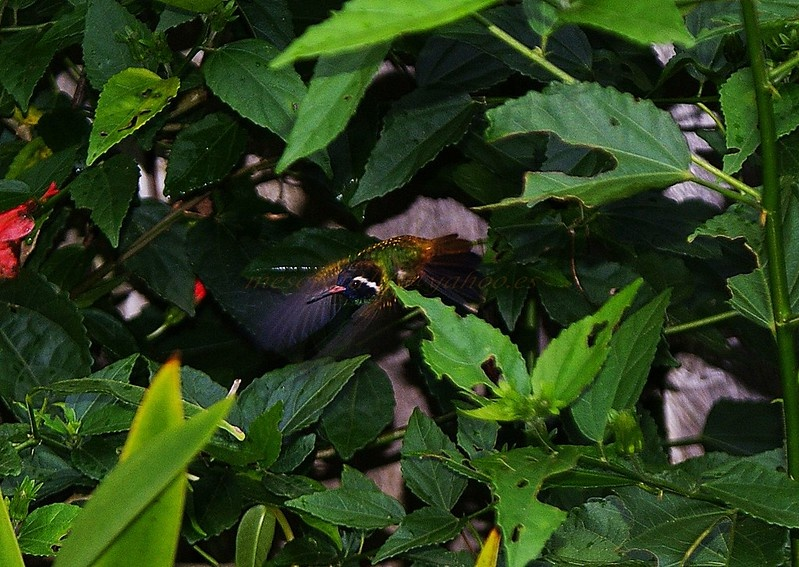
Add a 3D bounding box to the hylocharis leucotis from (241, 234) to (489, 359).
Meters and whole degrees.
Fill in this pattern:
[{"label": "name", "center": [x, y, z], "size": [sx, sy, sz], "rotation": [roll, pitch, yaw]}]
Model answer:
[{"label": "hylocharis leucotis", "center": [0.005, -0.013, 1.163], "size": [0.174, 0.083, 0.242], "rotation": [-48, 27, -21]}]
